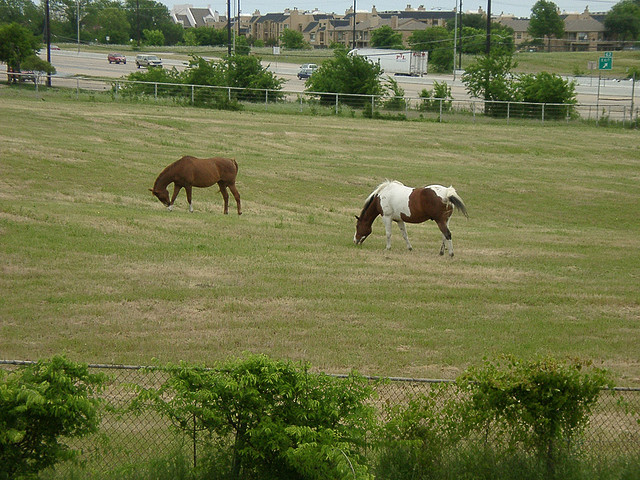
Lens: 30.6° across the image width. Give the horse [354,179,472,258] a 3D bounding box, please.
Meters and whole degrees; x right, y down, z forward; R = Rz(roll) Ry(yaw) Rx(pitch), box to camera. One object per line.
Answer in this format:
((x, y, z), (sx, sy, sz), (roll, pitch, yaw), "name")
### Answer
((4.263, -1.144, 55.231), (5.680, 3.565, 1.501), (0, 1, 31), "horse")
